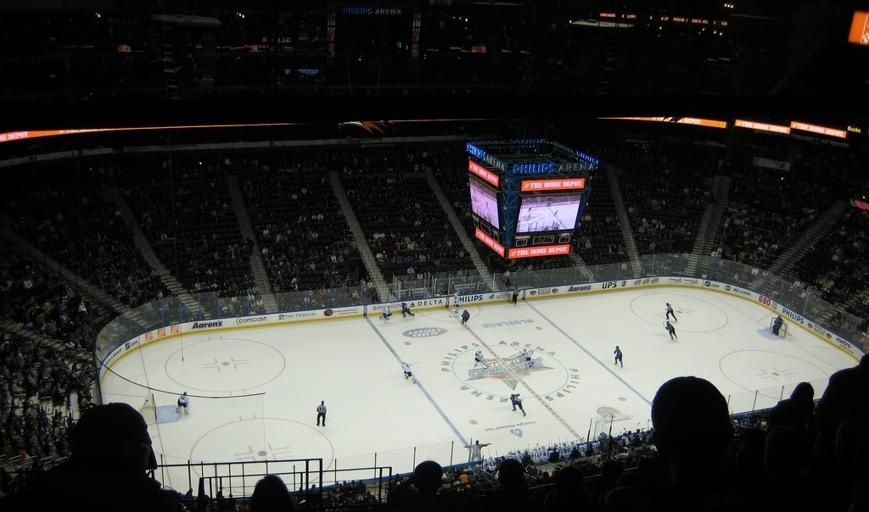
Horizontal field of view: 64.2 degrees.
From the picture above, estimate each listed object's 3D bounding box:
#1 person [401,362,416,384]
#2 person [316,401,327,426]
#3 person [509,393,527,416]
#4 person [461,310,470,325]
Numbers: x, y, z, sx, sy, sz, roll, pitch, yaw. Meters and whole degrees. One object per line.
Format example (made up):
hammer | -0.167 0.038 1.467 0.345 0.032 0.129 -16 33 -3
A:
person | -1.537 6.719 39.974 0.725 1.515 1.226 -7 -24 -5
person | -5.873 8.069 35.861 0.551 1.478 1.882 -4 -24 -10
person | 4.417 7.946 37.064 0.632 1.202 0.982 -11 -24 4
person | 2.010 4.091 45.848 0.704 0.578 0.994 3 -63 -4
